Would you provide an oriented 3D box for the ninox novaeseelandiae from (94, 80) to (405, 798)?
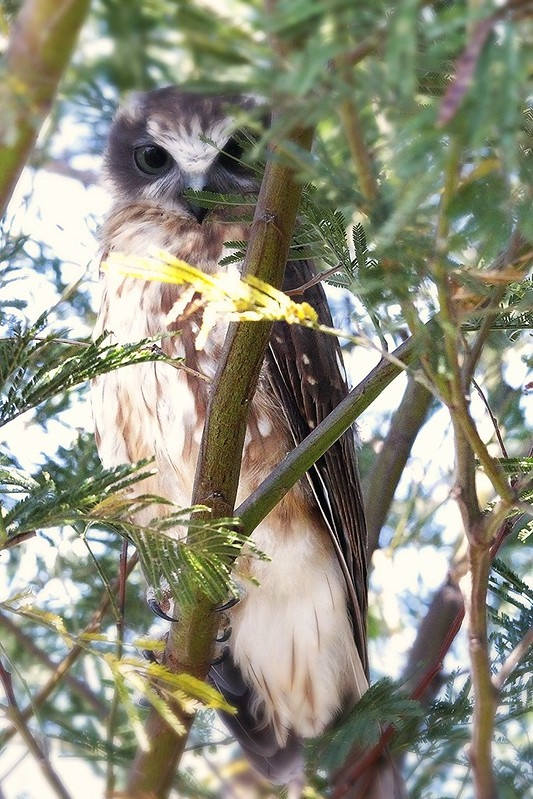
[{"bbox_3d":[-0.053,0.100,2.694,0.626,0.914,2.011,-5,-71,1],"label":"ninox novaeseelandiae"}]
